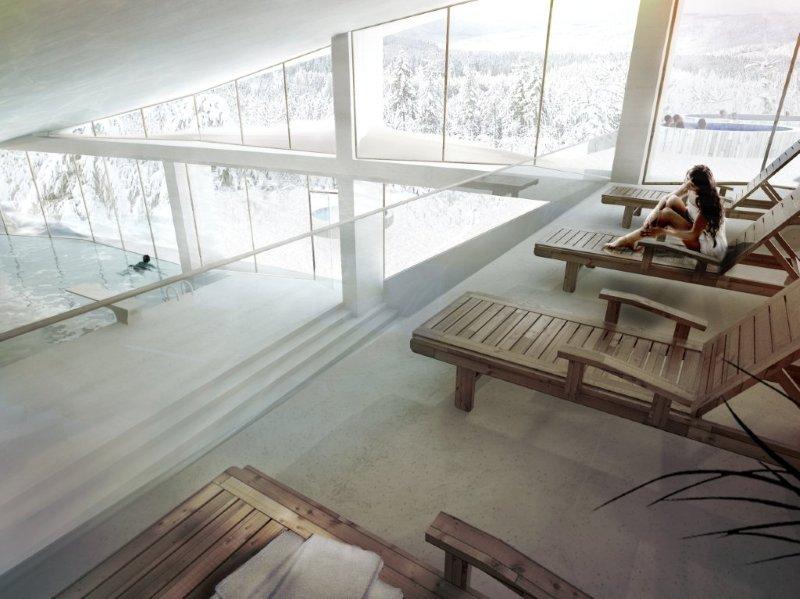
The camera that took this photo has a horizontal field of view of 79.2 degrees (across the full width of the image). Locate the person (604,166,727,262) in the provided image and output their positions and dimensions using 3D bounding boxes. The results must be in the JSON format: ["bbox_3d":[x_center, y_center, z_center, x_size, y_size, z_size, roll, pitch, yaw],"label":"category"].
[{"bbox_3d":[2.723,-0.910,4.903,1.093,0.835,0.533,10,38,26],"label":"person"}]

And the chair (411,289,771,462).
[{"bbox_3d":[1.260,0.500,3.697,2.193,0.738,0.959,15,33,28],"label":"chair"}]
